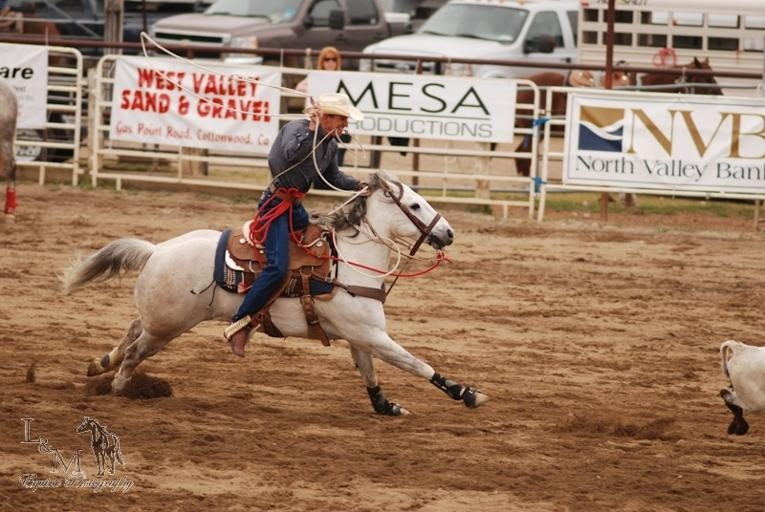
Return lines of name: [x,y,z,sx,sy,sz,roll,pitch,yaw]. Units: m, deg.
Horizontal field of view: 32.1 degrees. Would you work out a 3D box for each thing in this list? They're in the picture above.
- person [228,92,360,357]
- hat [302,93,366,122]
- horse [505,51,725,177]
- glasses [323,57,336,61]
person: [-1.117,-0.388,16.238,1.336,3.195,0.594,4,4,-20]
hat: [-0.675,-1.798,16.165,0.832,0.204,0.539,3,2,8]
horse: [4.223,-2.784,24.676,3.796,1.357,0.717,1,-9,29]
glasses: [-0.908,-3.356,22.778,0.232,0.074,0.108,2,3,-4]
